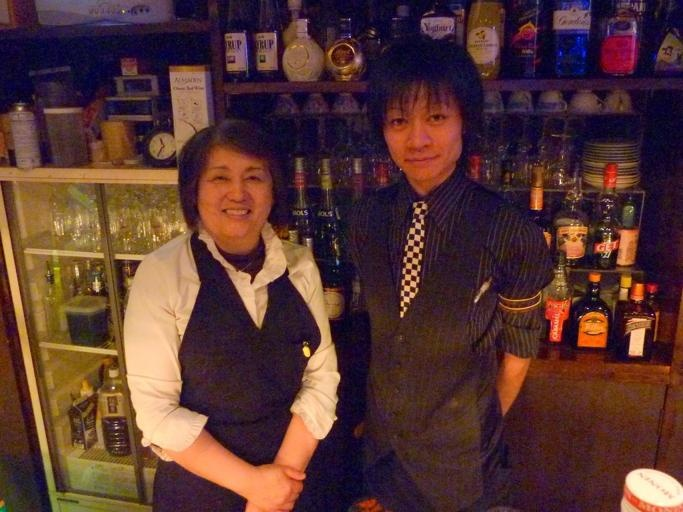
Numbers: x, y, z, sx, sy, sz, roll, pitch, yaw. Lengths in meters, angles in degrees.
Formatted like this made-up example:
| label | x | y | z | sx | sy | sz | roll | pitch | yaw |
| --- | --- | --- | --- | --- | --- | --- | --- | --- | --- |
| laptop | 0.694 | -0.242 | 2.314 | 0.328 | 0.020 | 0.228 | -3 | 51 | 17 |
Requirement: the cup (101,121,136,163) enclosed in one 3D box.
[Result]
| label | x | y | z | sx | sy | sz | roll | pitch | yaw |
| --- | --- | --- | --- | --- | --- | --- | --- | --- | --- |
| cup | -0.939 | -0.512 | 2.416 | 0.180 | 0.188 | 0.180 | -2 | 13 | 0 |

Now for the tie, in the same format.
| label | x | y | z | sx | sy | sz | roll | pitch | yaw |
| --- | --- | --- | --- | --- | --- | --- | --- | --- | --- |
| tie | 0.227 | -0.003 | 1.688 | 0.071 | 0.397 | 0.023 | 6 | -3 | 28 |

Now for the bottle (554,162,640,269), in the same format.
| label | x | y | z | sx | sy | sz | roll | pitch | yaw |
| --- | --- | --- | --- | --- | --- | --- | --- | --- | --- |
| bottle | 1.047 | -0.162 | 2.209 | 0.396 | 0.520 | 0.210 | -4 | 17 | -3 |

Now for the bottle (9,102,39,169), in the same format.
| label | x | y | z | sx | sy | sz | roll | pitch | yaw |
| --- | --- | --- | --- | --- | --- | --- | --- | --- | --- |
| bottle | -1.313 | -0.498 | 2.234 | 0.100 | 0.267 | 0.051 | -4 | 11 | -22 |

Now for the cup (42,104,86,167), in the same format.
| label | x | y | z | sx | sy | sz | roll | pitch | yaw |
| --- | --- | --- | --- | --- | --- | --- | --- | --- | --- |
| cup | -1.163 | -0.504 | 2.278 | 0.163 | 0.248 | 0.073 | -5 | 12 | -30 |

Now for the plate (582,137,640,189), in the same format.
| label | x | y | z | sx | sy | sz | roll | pitch | yaw |
| --- | --- | --- | --- | --- | --- | --- | --- | --- | --- |
| plate | 1.106 | -0.390 | 2.270 | 0.213 | 0.170 | 0.207 | -2 | 7 | -5 |

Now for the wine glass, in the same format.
| label | x | y | z | sx | sy | sz | roll | pitch | yaw |
| --- | --- | --- | --- | --- | --- | --- | --- | --- | --- |
| wine glass | 0.795 | -0.442 | 2.304 | 0.383 | 0.346 | 0.124 | 2 | 17 | 5 |

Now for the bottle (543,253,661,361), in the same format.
| label | x | y | z | sx | sy | sz | roll | pitch | yaw |
| --- | --- | --- | --- | --- | --- | --- | --- | --- | --- |
| bottle | 1.036 | 0.213 | 2.157 | 0.406 | 0.371 | 0.130 | 3 | 21 | 10 |
